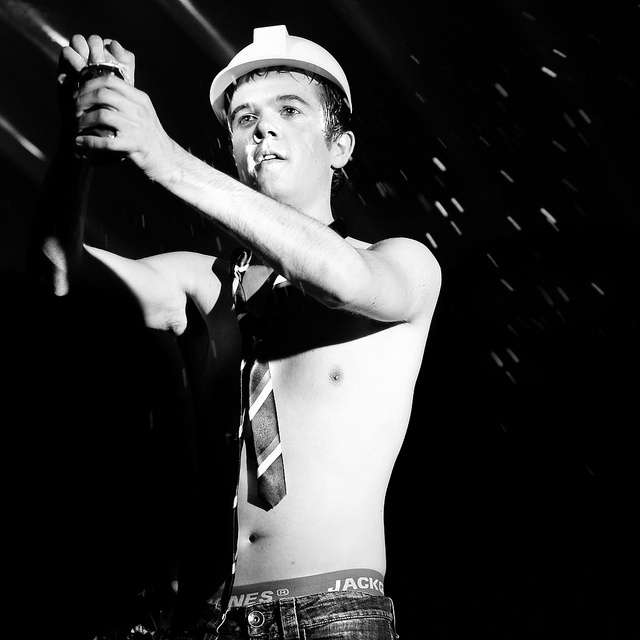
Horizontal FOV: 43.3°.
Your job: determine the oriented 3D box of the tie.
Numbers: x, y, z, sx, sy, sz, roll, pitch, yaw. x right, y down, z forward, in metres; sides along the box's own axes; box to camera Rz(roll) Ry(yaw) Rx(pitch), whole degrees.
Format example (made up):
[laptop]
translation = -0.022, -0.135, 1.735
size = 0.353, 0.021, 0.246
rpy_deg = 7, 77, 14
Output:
[tie]
translation = -0.164, 0.281, 1.857
size = 0.063, 0.891, 0.205
rpy_deg = -6, -11, 39
